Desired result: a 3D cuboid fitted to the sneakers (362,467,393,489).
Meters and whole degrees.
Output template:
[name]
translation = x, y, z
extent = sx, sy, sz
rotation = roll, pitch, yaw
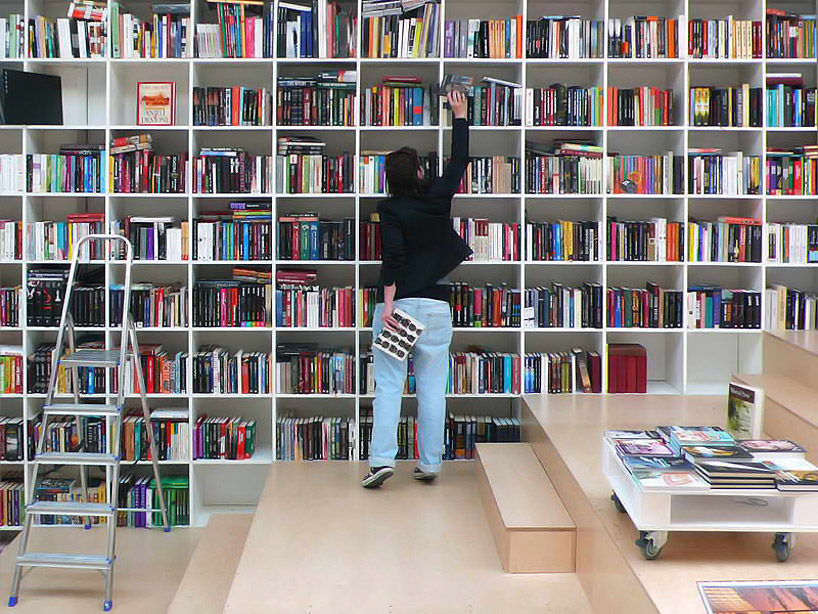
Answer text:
[sneakers]
translation = -0.205, 1.089, 5.744
extent = 0.099, 0.128, 0.273
rotation = 3, -15, -18
